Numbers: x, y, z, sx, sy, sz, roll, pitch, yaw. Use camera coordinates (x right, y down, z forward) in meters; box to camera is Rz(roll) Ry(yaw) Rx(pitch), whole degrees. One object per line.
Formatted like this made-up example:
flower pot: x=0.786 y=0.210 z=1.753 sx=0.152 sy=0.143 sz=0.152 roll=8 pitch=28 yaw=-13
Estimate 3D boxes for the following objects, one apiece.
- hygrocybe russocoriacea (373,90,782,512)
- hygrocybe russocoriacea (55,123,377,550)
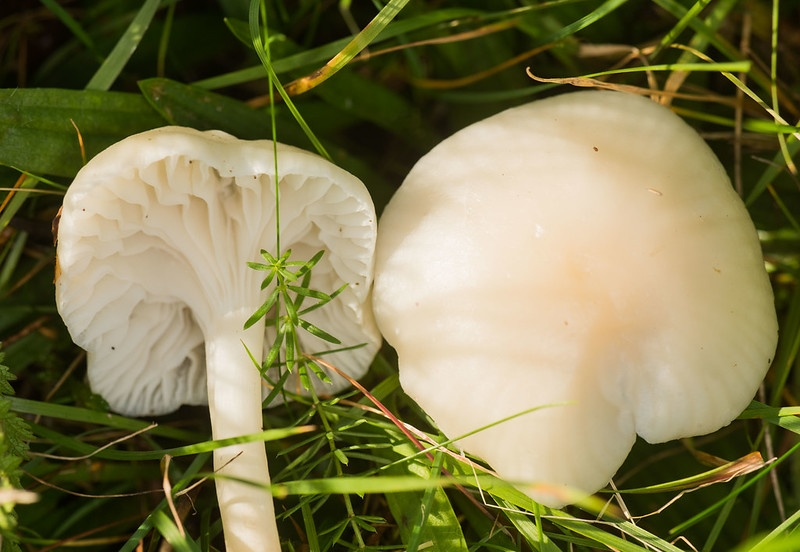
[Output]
hygrocybe russocoriacea: x=0.703 y=0.044 z=3.470 sx=1.494 sy=1.419 sz=1.331 roll=-3 pitch=21 yaw=38
hygrocybe russocoriacea: x=-0.653 y=0.113 z=3.209 sx=1.062 sy=1.232 sz=0.913 roll=27 pitch=-7 yaw=9
